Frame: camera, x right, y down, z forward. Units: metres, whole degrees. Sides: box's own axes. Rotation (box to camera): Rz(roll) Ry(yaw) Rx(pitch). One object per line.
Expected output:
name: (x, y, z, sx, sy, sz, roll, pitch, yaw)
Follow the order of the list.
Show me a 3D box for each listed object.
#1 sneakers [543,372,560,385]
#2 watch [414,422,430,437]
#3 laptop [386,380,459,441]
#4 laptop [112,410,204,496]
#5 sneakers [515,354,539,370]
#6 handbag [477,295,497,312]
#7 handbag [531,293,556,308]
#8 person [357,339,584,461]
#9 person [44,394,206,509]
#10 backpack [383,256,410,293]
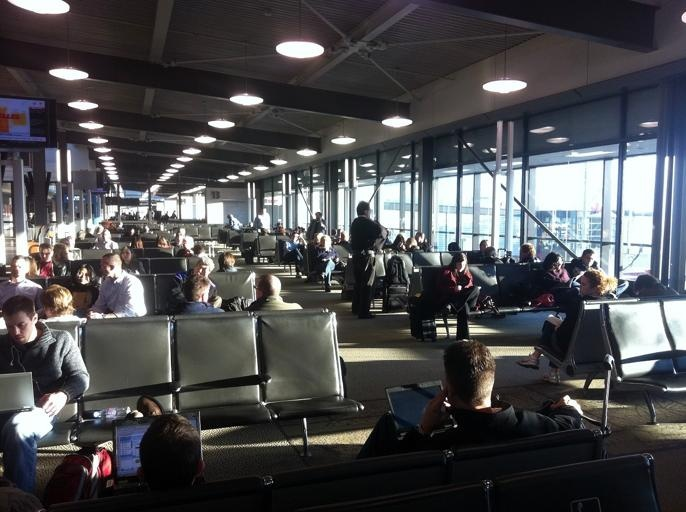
sneakers: (2.158, 1.242, 5.902, 0.108, 0.120, 0.201, 0, 4, -13)
watch: (0.396, 0.879, 2.882, 0.047, 0.067, 0.072, 12, -11, -18)
laptop: (0.433, 0.850, 3.197, 0.330, 0.222, 0.236, -9, -9, -12)
laptop: (-0.855, 0.903, 2.572, 0.393, 0.394, 0.354, 4, 22, -11)
sneakers: (1.957, 1.149, 6.190, 0.361, 0.178, 0.131, 3, -5, 6)
handbag: (2.102, 0.691, 8.300, 0.255, 0.242, 0.059, 11, -14, -26)
handbag: (2.992, 0.659, 8.487, 0.314, 0.136, 0.180, -4, -1, 17)
person: (0.665, 0.750, 2.831, 1.191, 0.639, 0.554, -2, 6, -2)
person: (-0.862, 0.804, 2.596, 0.717, 0.667, 0.575, -2, -10, -5)
backpack: (0.915, 0.243, 9.622, 0.483, 0.610, 0.397, -4, 23, -4)
